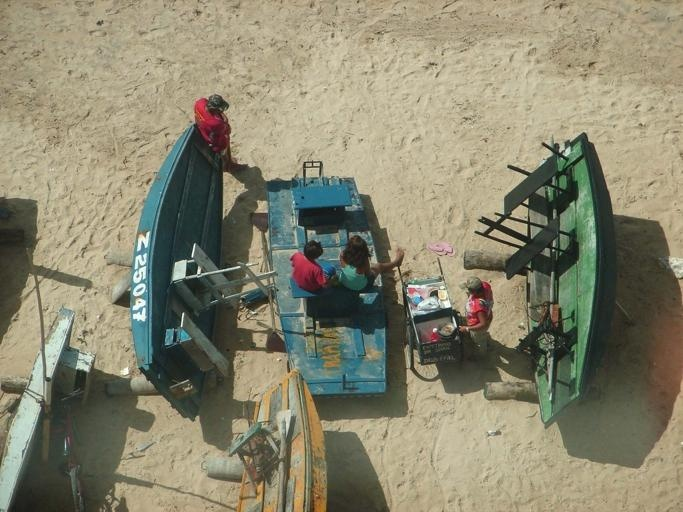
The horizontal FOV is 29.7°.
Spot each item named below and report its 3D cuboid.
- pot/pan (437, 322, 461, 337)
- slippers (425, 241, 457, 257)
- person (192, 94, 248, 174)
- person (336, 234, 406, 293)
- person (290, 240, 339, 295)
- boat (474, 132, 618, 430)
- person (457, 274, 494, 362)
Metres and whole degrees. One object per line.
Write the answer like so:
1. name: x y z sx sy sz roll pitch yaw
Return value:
1. pot/pan: 2.494 1.751 30.267 0.475 0.117 0.355 -13 74 -1
2. slippers: 2.514 -0.196 32.242 0.504 0.086 0.378 19 54 19
3. person: -3.173 -3.104 33.473 0.655 2.183 1.239 -30 87 -9
4. person: 0.637 0.022 30.310 1.091 1.239 1.625 23 57 15
5. person: -0.699 0.308 30.026 1.007 0.575 1.042 -29 75 -6
6. boat: 5.255 0.567 31.075 2.415 2.980 6.242 0 74 3
7. person: 3.175 1.569 30.508 0.583 1.721 0.846 16 66 17
